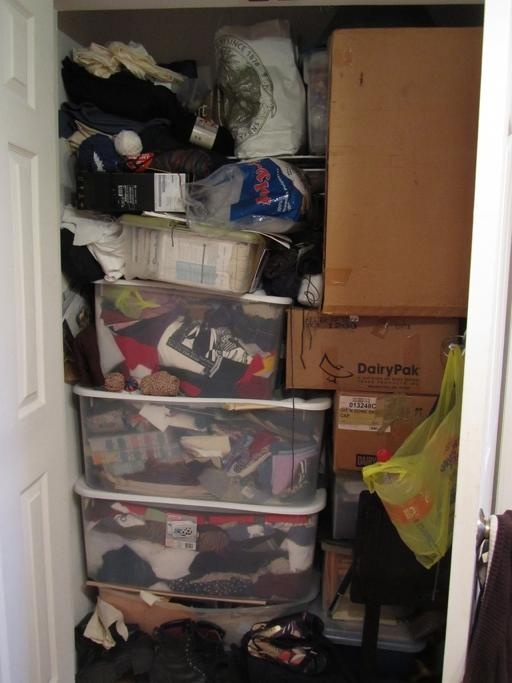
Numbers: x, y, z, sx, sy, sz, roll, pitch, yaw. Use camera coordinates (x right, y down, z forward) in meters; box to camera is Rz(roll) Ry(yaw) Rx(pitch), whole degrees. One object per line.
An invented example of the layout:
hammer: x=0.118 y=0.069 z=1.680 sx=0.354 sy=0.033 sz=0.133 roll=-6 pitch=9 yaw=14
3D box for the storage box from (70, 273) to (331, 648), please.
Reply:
storage box: x=-0.182 y=0.341 z=2.231 sx=1.083 sy=1.442 sz=0.960 roll=2 pitch=4 yaw=3

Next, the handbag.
handbag: x=0.028 y=-0.767 z=1.796 sx=0.275 sy=0.379 sz=0.201 roll=10 pitch=32 yaw=30

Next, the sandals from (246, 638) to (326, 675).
sandals: x=0.091 y=0.872 z=1.691 sx=0.150 sy=0.050 sz=0.082 roll=7 pitch=0 yaw=21

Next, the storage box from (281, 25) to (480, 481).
storage box: x=0.313 y=-0.184 z=1.587 sx=0.475 sy=1.197 sz=0.215 roll=5 pitch=13 yaw=17

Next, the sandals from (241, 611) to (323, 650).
sandals: x=0.091 y=0.844 z=1.756 sx=0.187 sy=0.064 sz=0.099 roll=-6 pitch=16 yaw=8
